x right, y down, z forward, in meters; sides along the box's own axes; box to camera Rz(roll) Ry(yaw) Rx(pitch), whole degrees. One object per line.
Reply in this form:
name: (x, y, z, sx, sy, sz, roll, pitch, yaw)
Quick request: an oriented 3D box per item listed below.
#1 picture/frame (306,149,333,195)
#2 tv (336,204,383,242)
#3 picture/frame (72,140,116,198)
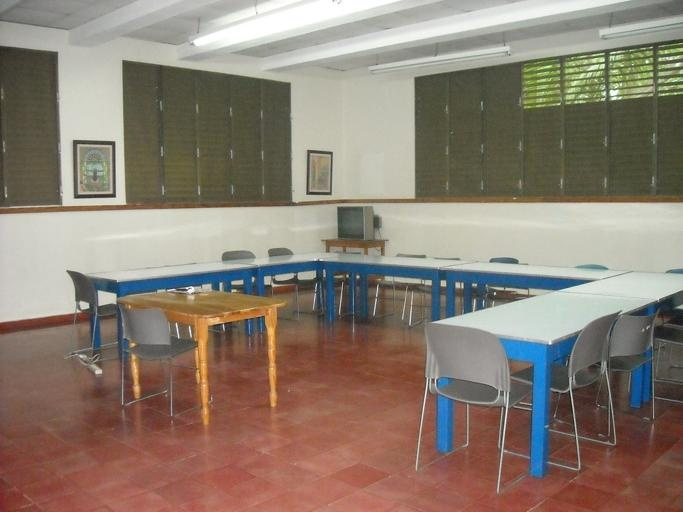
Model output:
picture/frame: (-0.483, -1.769, 11.411, 0.151, 0.929, 0.801, 6, 11, 35)
tv: (0.358, -0.644, 11.165, 0.695, 0.772, 0.944, -2, 2, -43)
picture/frame: (-3.881, -1.357, 8.437, 0.678, 0.894, 0.096, -8, 12, -40)
